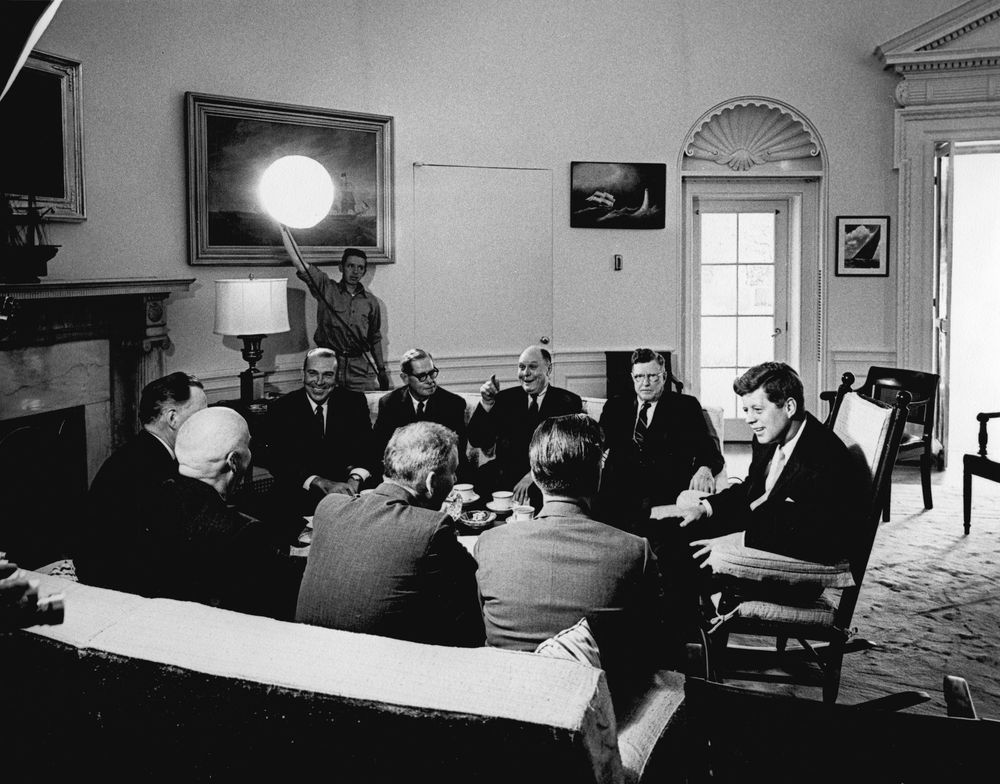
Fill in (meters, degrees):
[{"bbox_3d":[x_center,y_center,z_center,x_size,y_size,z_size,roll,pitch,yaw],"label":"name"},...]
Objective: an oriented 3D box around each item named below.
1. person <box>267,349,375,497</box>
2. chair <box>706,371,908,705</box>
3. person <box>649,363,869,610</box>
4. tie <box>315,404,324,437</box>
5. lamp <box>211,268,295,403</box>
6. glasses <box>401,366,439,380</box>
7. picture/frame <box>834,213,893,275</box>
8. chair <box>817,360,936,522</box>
[{"bbox_3d":[-0.806,0.239,3.802,0.403,0.806,0.493,-1,18,4],"label":"person"},{"bbox_3d":[0.939,0.557,2.715,0.627,0.846,0.590,-5,12,-13],"label":"chair"},{"bbox_3d":[0.815,0.249,2.876,0.664,1.040,0.710,1,1,8],"label":"person"},{"bbox_3d":[-0.828,0.130,3.808,0.032,0.142,0.035,1,-16,-13],"label":"tie"},{"bbox_3d":[-1.420,-0.302,4.752,0.386,0.708,0.562,-1,9,-18],"label":"lamp"},{"bbox_3d":[-0.351,-0.086,3.681,0.155,0.059,0.138,0,10,-13],"label":"glasses"},{"bbox_3d":[2.708,-1.106,6.124,0.403,0.560,0.026,0,0,6],"label":"picture/frame"},{"bbox_3d":[2.387,0.275,5.229,0.536,0.898,0.531,1,2,-4],"label":"chair"}]
